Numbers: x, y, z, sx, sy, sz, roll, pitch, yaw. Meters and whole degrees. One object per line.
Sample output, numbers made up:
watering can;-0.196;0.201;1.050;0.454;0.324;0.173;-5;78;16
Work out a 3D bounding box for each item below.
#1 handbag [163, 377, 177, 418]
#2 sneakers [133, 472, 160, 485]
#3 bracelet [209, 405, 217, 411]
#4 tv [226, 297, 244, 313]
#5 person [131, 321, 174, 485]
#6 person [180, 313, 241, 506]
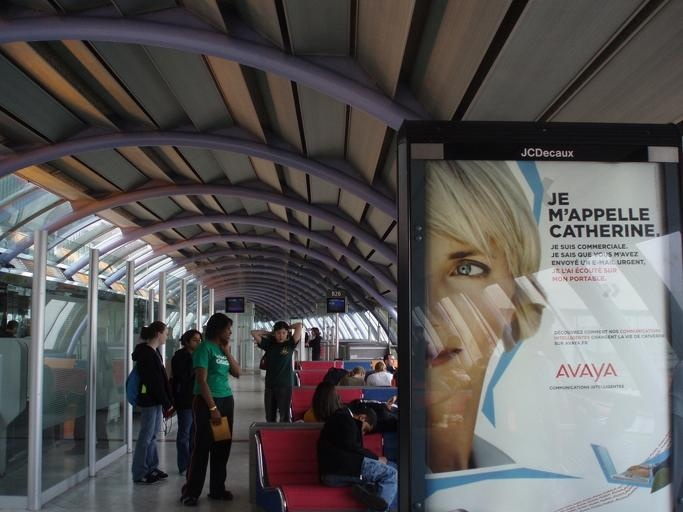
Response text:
handbag;-3.155;2.577;8.808;0.257;0.666;0.533;-1;-6;2
sneakers;-3.553;4.077;8.843;0.477;0.190;0.167;-1;-9;2
bracelet;-1.933;2.271;7.183;0.138;0.078;0.102;-5;-13;11
tv;-8.361;3.739;37.830;1.334;1.222;1.191;-1;-13;-3
person;-3.545;2.666;8.864;0.680;2.891;0.944;3;-14;-22
person;-2.039;2.391;7.593;0.822;2.942;1.198;2;-14;-16
